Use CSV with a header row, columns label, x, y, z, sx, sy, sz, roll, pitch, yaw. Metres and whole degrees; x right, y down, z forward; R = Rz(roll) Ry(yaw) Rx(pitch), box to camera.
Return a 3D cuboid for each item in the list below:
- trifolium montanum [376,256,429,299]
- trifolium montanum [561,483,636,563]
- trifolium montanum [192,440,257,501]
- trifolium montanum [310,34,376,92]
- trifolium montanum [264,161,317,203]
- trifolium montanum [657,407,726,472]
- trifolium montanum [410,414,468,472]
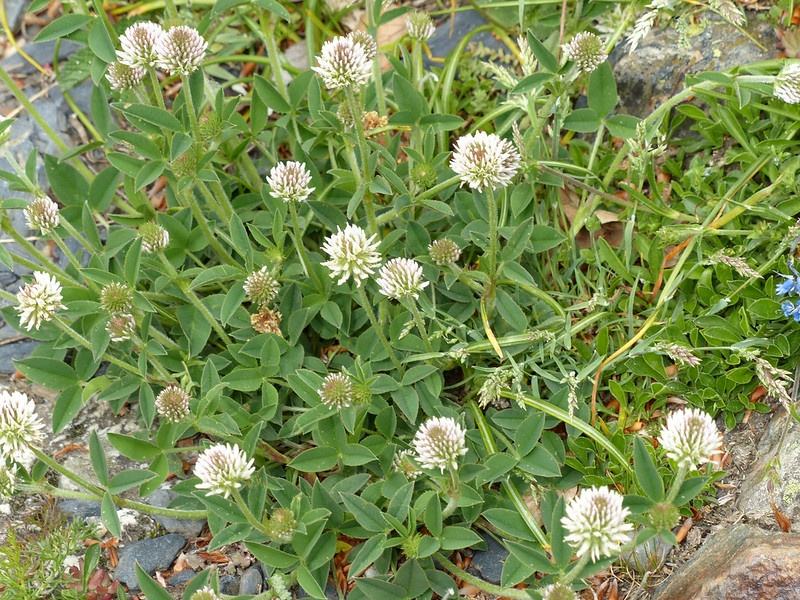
label,x,y,z,sx,sy,sz,roll,pitch,yaw
trifolium montanum,0.011,-0.105,3.529,0.188,0.216,0.215,-6,50,9
trifolium montanum,0.853,0.972,3.178,0.258,0.352,0.277,38,82,24
trifolium montanum,-0.731,0.724,3.303,0.172,0.242,0.189,-10,22,25
trifolium montanum,-0.285,-1.213,3.515,0.219,0.249,0.253,15,67,-10
trifolium montanum,-0.556,-0.603,3.841,0.180,0.204,0.192,-23,50,-22
trifolium montanum,1.294,0.634,3.296,0.217,0.240,0.226,-21,56,-9
trifolium montanum,0.188,0.643,3.391,0.224,0.250,0.249,-3,50,20
